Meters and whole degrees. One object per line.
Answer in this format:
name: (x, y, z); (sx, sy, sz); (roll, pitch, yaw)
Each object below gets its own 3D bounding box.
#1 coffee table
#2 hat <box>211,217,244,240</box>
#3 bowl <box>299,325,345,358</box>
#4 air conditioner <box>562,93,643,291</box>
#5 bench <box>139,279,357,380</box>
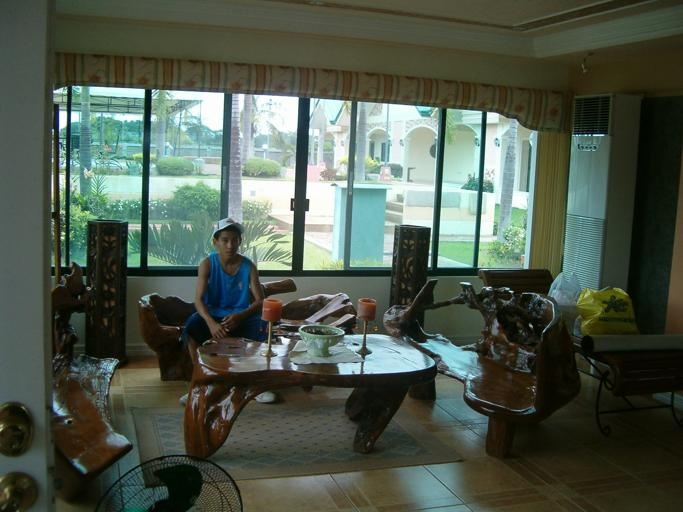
coffee table: (-0.212, 0.876, 3.222); (1.419, 0.603, 0.733); (1, 8, -15)
hat: (-0.867, -0.222, 3.997); (0.171, 0.108, 0.222); (3, -12, -27)
bowl: (-0.116, 0.519, 3.241); (0.283, 0.149, 0.275); (5, 8, -1)
air conditioner: (2.435, -0.595, 4.997); (0.669, 1.788, 0.266); (8, 9, 26)
bench: (-0.814, 0.527, 4.325); (1.398, 0.474, 0.913); (-2, 12, -14)
